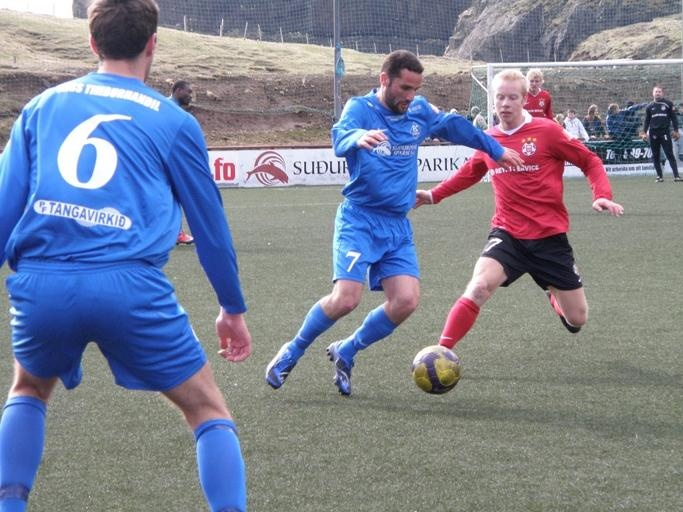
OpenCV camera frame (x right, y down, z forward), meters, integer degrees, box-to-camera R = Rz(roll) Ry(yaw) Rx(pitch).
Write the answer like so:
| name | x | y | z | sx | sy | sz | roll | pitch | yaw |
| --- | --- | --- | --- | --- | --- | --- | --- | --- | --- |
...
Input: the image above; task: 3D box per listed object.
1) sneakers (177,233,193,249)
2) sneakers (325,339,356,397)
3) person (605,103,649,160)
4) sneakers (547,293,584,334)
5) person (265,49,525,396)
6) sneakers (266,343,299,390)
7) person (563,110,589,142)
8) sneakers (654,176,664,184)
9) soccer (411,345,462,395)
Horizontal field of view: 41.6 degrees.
| name | x | y | z | sx | sy | sz | roll | pitch | yaw |
| --- | --- | --- | --- | --- | --- | --- | --- | --- | --- |
| sneakers | -1.872 | -0.163 | 10.706 | 0.209 | 0.159 | 0.075 | -10 | 39 | -7 |
| sneakers | -0.029 | 0.746 | 5.876 | 0.170 | 0.377 | 0.116 | -21 | -21 | 16 |
| person | 7.086 | -3.041 | 22.448 | 0.559 | 1.761 | 1.354 | -13 | -12 | 43 |
| sneakers | 1.621 | 0.424 | 6.507 | 0.098 | 0.308 | 0.108 | -21 | -9 | -16 |
| person | 0.235 | -0.233 | 5.854 | 1.495 | 2.133 | 0.610 | -9 | 14 | -39 |
| sneakers | -0.391 | 0.719 | 5.790 | 0.136 | 0.133 | 0.362 | -33 | 15 | 29 |
| person | 5.369 | -3.016 | 20.958 | 0.647 | 0.362 | 1.155 | 1 | -3 | 19 |
| sneakers | 7.025 | -1.682 | 19.867 | 0.111 | 0.248 | 0.340 | -1 | 10 | -8 |
| soccer | 0.579 | 0.701 | 5.461 | 0.275 | 0.295 | 0.281 | 3 | -16 | 11 |
